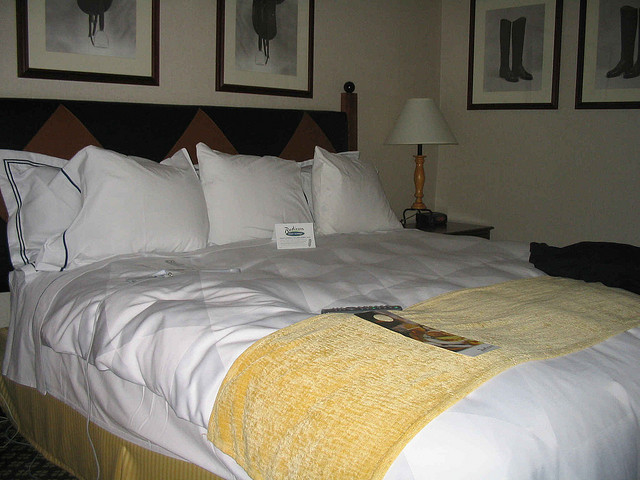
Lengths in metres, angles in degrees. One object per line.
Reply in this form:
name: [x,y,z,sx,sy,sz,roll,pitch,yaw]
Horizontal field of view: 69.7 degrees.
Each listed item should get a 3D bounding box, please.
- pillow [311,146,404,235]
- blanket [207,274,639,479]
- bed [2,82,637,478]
pillow: [0.222,-0.297,2.734,0.553,0.560,0.167,0,-11,-35]
blanket: [0.446,0.252,1.375,1.577,0.229,0.494,-16,21,-40]
bed: [-0.089,0.064,1.925,1.768,1.175,1.826,-9,13,-37]
